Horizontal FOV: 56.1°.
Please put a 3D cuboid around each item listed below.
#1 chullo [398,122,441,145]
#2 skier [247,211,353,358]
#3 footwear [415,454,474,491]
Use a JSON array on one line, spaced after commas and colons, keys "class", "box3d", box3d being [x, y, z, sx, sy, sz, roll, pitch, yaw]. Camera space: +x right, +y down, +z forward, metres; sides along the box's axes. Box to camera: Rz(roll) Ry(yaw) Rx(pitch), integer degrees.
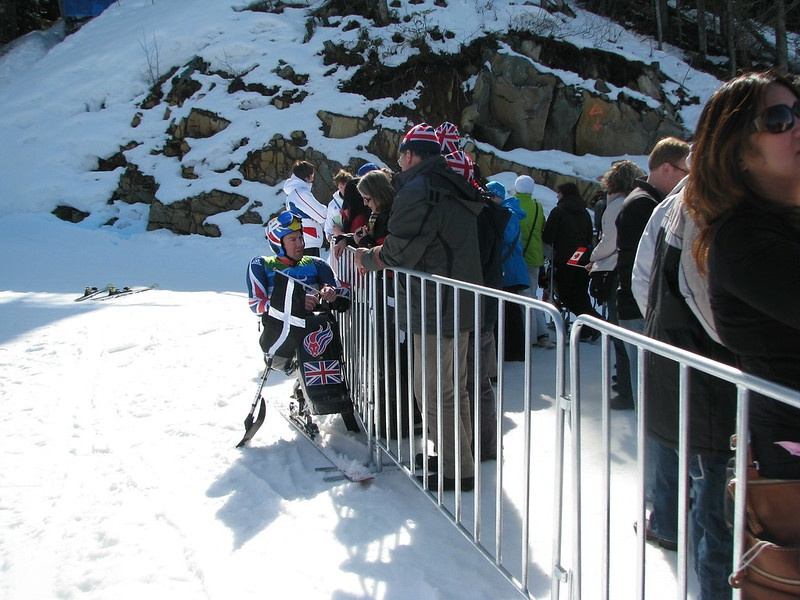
[{"class": "chullo", "box3d": [0.179, -1.202, 5.446, 0.218, 0.132, 0.220, -3, 16, -7]}, {"class": "skier", "box3d": [-0.841, -0.030, 6.389, 0.851, 1.501, 0.812, -3, -5, -14]}, {"class": "footwear", "box3d": [0.300, 1.213, 5.296, 0.506, 0.353, 0.179, -2, 0, 11]}]
